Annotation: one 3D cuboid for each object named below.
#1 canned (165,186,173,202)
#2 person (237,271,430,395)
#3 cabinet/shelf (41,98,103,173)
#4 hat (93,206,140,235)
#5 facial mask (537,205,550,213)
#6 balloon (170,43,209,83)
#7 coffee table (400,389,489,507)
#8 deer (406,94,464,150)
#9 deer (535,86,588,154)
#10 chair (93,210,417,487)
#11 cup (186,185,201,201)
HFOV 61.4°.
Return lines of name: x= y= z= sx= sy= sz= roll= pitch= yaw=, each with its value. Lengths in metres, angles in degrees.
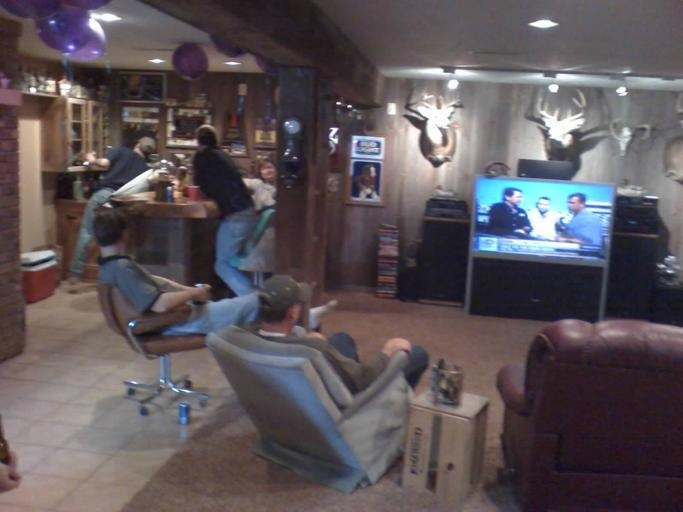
canned: x=-1.655 y=-0.589 z=5.529 sx=0.078 sy=0.150 sz=0.057 roll=-6 pitch=17 yaw=-32
person: x=-0.028 y=0.586 z=4.458 sx=0.675 sy=1.149 sz=0.533 roll=-42 pitch=34 yaw=-26
cabinet/shelf: x=-3.622 y=-1.574 z=7.628 sx=0.379 sy=1.023 sz=1.131 roll=2 pitch=7 yaw=1
hat: x=-1.564 y=-0.239 z=4.099 sx=0.220 sy=0.132 sz=0.284 roll=4 pitch=2 yaw=5
facial mask: x=2.316 y=-0.555 z=6.618 sx=0.094 sy=0.102 sz=0.110 roll=0 pitch=0 yaw=7
balloon: x=-1.608 y=-2.069 z=6.102 sx=0.350 sy=0.354 sz=0.287 roll=1 pitch=14 yaw=-7
coffee table: x=0.644 y=1.129 z=3.523 sx=0.432 sy=0.565 sz=0.428 roll=9 pitch=15 yaw=23
deer: x=1.118 y=-1.729 z=7.619 sx=0.924 sy=0.789 sz=0.599 roll=-1 pitch=6 yaw=-5
deer: x=2.761 y=-1.714 z=7.163 sx=0.805 sy=0.833 sz=0.369 roll=1 pitch=11 yaw=10
chair: x=-0.693 y=0.150 z=4.864 sx=2.479 sy=1.383 sz=0.957 roll=-1 pitch=2 yaw=-18
cup: x=-1.469 y=-0.615 z=5.662 sx=0.145 sy=0.156 sz=0.140 roll=4 pitch=16 yaw=-1
